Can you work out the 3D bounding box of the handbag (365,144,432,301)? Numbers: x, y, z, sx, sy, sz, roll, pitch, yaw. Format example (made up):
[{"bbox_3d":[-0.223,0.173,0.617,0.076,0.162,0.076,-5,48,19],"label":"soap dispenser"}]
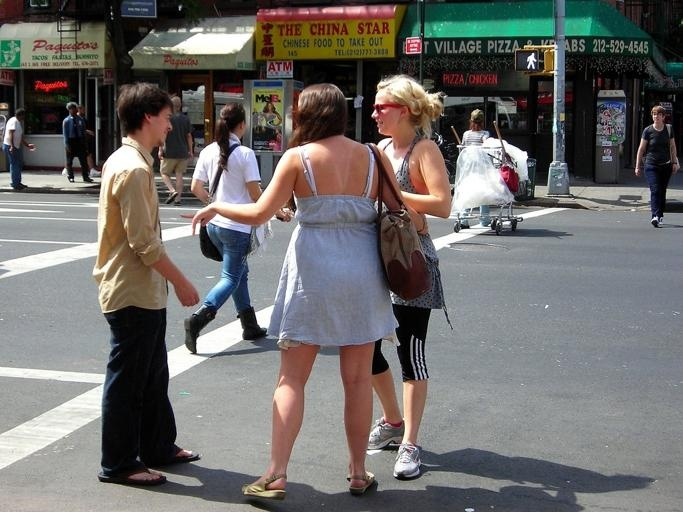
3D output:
[{"bbox_3d":[0.334,-0.192,4.873,0.357,0.867,0.212,0,10,-3],"label":"handbag"}]

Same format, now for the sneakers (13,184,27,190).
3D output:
[{"bbox_3d":[-8.139,-1.752,21.414,0.214,0.128,0.363,6,12,28],"label":"sneakers"}]

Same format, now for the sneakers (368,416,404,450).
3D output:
[{"bbox_3d":[0.287,1.181,5.569,0.304,0.165,0.122,-3,3,-5],"label":"sneakers"}]

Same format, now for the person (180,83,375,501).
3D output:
[{"bbox_3d":[-0.188,0.211,4.833,0.836,2.344,0.572,-3,10,-16],"label":"person"}]

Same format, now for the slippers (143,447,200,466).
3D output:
[{"bbox_3d":[-1.033,1.261,5.207,0.286,0.089,0.112,-8,12,-29],"label":"slippers"}]

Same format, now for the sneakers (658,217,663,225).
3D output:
[{"bbox_3d":[5.893,-0.649,15.607,0.081,0.111,0.278,1,11,10],"label":"sneakers"}]

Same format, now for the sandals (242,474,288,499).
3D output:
[{"bbox_3d":[-0.418,1.291,4.762,0.282,0.127,0.110,1,-10,30],"label":"sandals"}]

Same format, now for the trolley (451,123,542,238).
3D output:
[{"bbox_3d":[2.617,-1.328,14.756,1.209,1.833,1.998,3,4,18],"label":"trolley"}]

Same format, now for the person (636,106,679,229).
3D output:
[{"bbox_3d":[5.887,-1.687,15.755,0.734,2.152,1.581,4,11,20],"label":"person"}]

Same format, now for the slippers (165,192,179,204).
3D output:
[{"bbox_3d":[-3.662,-1.265,18.188,0.160,0.181,0.441,-16,-5,-18],"label":"slippers"}]

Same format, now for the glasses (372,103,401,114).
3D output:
[{"bbox_3d":[0.257,-0.929,5.309,0.135,0.059,0.244,-7,13,-34],"label":"glasses"}]

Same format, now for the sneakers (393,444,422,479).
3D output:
[{"bbox_3d":[0.414,1.248,5.234,0.142,0.159,0.357,1,8,17],"label":"sneakers"}]

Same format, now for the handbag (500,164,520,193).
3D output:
[{"bbox_3d":[2.818,-1.279,14.177,0.356,0.495,0.385,-1,10,-4],"label":"handbag"}]

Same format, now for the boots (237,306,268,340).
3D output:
[{"bbox_3d":[-0.829,0.637,7.970,0.141,0.314,0.313,-18,-5,32],"label":"boots"}]

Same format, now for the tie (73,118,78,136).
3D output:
[{"bbox_3d":[-7.027,-3.386,22.349,0.151,0.464,0.201,-3,10,-18],"label":"tie"}]

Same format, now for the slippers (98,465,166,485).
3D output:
[{"bbox_3d":[-1.239,1.263,4.985,0.311,0.089,0.148,0,1,-1],"label":"slippers"}]
